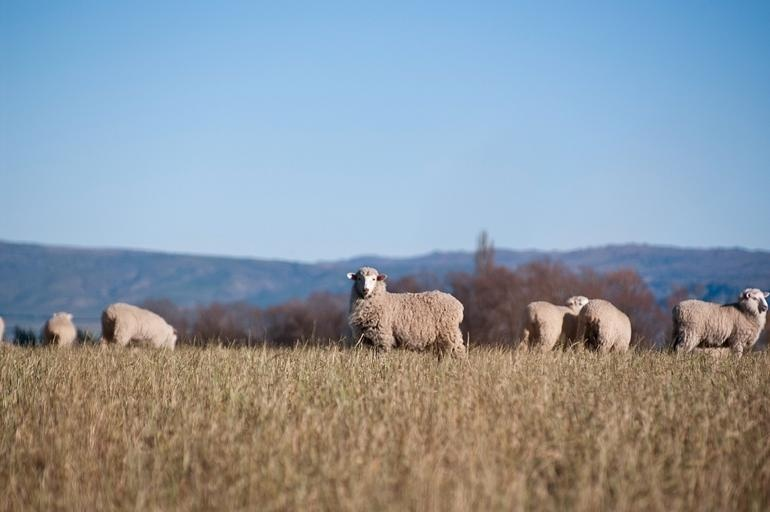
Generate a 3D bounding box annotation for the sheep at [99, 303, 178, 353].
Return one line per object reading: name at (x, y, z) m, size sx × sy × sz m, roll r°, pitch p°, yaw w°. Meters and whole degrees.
sheep at (-5.269, 1.806, 26.051) m, size 0.636 × 1.259 × 2.276 m, roll -1°, pitch -13°, yaw 34°

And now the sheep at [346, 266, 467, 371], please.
sheep at (0.381, 1.310, 24.454) m, size 2.722 × 1.890 × 0.981 m, roll 7°, pitch 9°, yaw -17°

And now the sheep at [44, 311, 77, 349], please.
sheep at (-7.054, 1.646, 25.856) m, size 0.468 × 0.845 × 1.162 m, roll 1°, pitch 4°, yaw -14°
